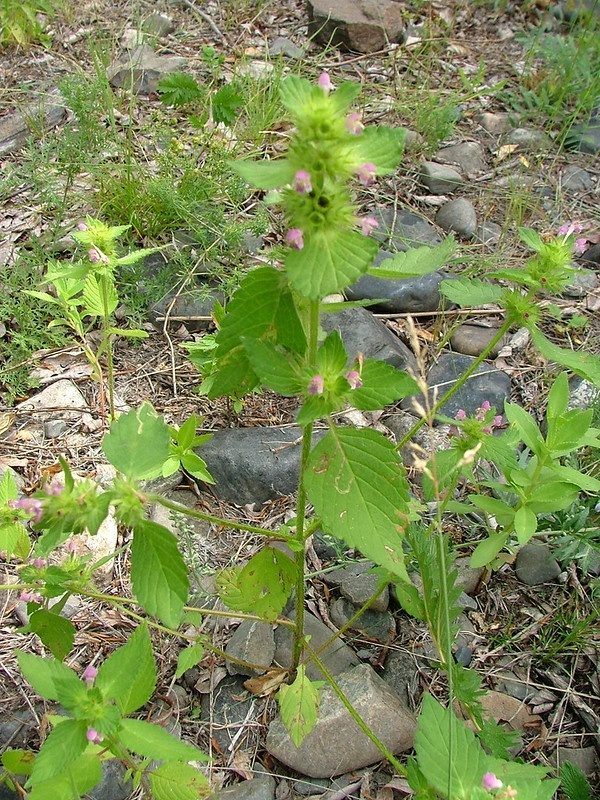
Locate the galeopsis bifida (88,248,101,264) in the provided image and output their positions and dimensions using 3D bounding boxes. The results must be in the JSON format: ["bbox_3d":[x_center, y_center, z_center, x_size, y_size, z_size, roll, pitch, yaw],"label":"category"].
[{"bbox_3d":[-0.659,-0.466,2.261,0.041,0.043,0.017,26,64,12],"label":"galeopsis bifida"}]

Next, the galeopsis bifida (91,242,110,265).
[{"bbox_3d":[-0.636,-0.473,2.247,0.032,0.068,0.038,35,99,31],"label":"galeopsis bifida"}]

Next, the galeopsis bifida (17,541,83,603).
[{"bbox_3d":[-0.655,0.471,1.905,0.161,0.073,0.148,-9,51,-36],"label":"galeopsis bifida"}]

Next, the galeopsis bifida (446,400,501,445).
[{"bbox_3d":[0.561,0.073,2.278,0.153,0.054,0.138,-1,59,34],"label":"galeopsis bifida"}]
